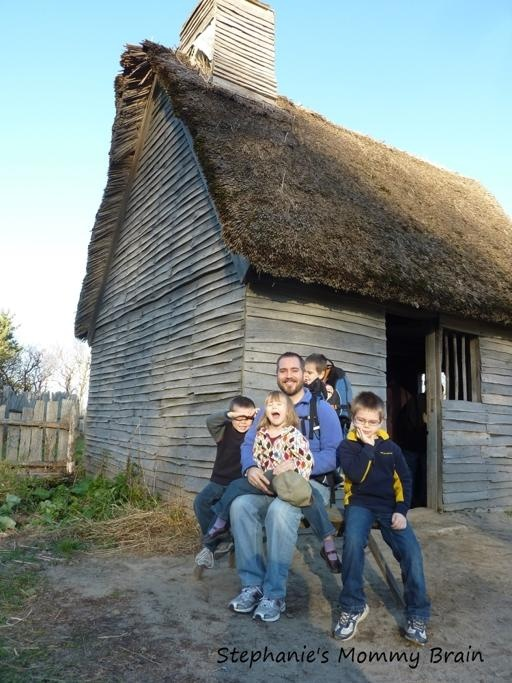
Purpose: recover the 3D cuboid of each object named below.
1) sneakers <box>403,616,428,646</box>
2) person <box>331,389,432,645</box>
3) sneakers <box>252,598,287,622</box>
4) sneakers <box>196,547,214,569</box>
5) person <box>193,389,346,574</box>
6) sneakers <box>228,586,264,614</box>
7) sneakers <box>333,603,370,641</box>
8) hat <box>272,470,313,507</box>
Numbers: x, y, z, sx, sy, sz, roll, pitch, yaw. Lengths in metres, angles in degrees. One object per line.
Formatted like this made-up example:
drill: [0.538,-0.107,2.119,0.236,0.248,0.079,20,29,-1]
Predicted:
sneakers: [0.742,1.340,2.321,0.078,0.087,0.195,6,-19,19]
person: [0.645,0.853,2.571,0.454,1.188,0.449,1,-9,10]
sneakers: [0.060,1.327,2.479,0.082,0.089,0.200,-6,-22,20]
sneakers: [-0.339,1.393,3.228,0.094,0.074,0.192,3,-11,-1]
person: [0.040,0.706,2.721,0.730,0.855,0.479,0,0,-3]
sneakers: [-0.045,1.345,2.610,0.094,0.098,0.219,-9,-22,39]
sneakers: [0.485,1.346,2.419,0.108,0.121,0.275,-8,-8,31]
hat: [0.185,0.719,2.528,0.200,0.146,0.074,31,21,20]
